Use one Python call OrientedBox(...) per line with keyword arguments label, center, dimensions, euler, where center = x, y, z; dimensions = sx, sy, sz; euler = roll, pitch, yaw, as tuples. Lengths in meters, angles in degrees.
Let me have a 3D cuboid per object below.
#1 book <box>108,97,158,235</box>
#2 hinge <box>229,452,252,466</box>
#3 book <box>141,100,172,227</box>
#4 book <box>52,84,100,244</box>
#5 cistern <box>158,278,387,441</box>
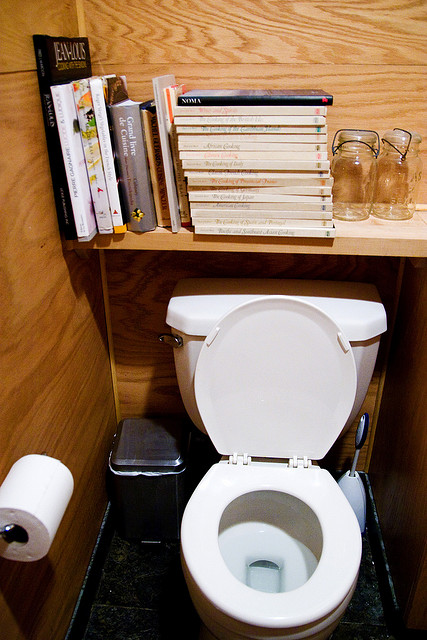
OrientedBox(label="book", center=(-0.155, -0.297, 0.912), dimensions=(0.078, 0.244, 0.225), euler=(-3, 9, 3))
OrientedBox(label="hinge", center=(0.060, 0.314, 1.087), dimensions=(0.029, 0.008, 0.031), euler=(2, 25, 6))
OrientedBox(label="book", center=(-0.108, -0.293, 0.932), dimensions=(0.033, 0.157, 0.154), euler=(-10, 37, 4))
OrientedBox(label="book", center=(-0.244, -0.277, 0.873), dimensions=(0.040, 0.272, 0.079), euler=(2, 29, 12))
OrientedBox(label="cistern", center=(0.135, 0.170, 1.182), dimensions=(0.561, 0.414, 0.349), euler=(1, 33, 2))
